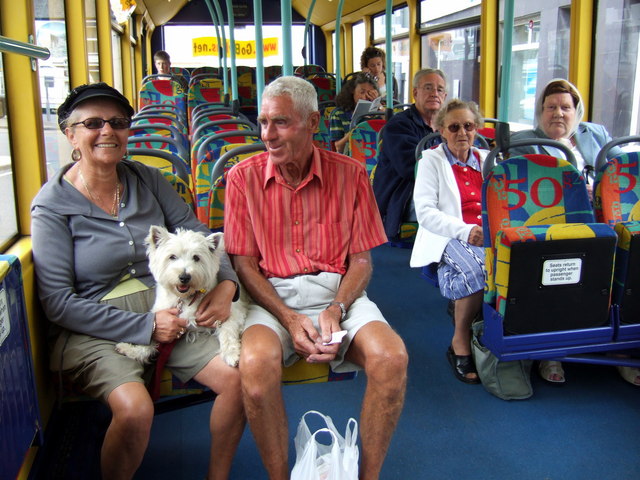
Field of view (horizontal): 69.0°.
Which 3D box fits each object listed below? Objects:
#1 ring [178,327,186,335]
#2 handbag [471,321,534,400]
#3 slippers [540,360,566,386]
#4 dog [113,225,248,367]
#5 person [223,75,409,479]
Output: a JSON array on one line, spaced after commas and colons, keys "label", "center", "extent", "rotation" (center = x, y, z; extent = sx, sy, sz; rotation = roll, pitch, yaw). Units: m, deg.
[{"label": "ring", "center": [-0.586, 0.397, 1.993], "extent": [0.014, 0.037, 0.026], "rotation": [31, 14, 7]}, {"label": "handbag", "center": [1.073, 0.752, 2.754], "extent": [0.276, 0.508, 0.212], "rotation": [-3, -13, 5]}, {"label": "slippers", "center": [1.408, 0.807, 2.820], "extent": [0.081, 0.105, 0.240], "rotation": [-3, -7, 5]}, {"label": "dog", "center": [-0.596, 0.212, 2.051], "extent": [0.519, 0.591, 0.364], "rotation": [-2, 12, 1]}, {"label": "person", "center": [-0.015, 0.123, 2.106], "extent": [0.782, 1.710, 0.849], "rotation": [-5, 13, -12]}]
